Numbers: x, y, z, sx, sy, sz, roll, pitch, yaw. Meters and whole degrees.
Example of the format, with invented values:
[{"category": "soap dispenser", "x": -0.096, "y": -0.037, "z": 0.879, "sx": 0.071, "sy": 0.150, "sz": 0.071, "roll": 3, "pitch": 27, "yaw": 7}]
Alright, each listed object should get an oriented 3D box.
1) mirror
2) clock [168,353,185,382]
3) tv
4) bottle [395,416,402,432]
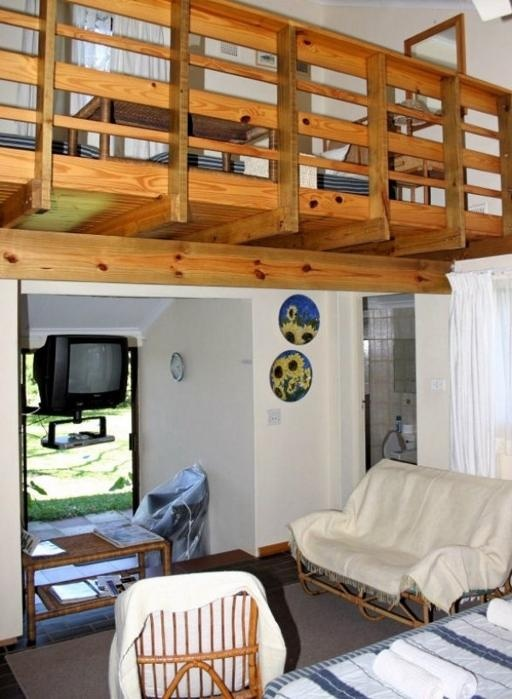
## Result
[{"category": "mirror", "x": 1.283, "y": -2.044, "z": 4.314, "sx": 0.256, "sy": 0.485, "sz": 0.520, "roll": -4, "pitch": -5, "yaw": -23}, {"category": "clock", "x": -0.812, "y": 0.187, "z": 6.304, "sx": 0.032, "sy": 0.276, "sz": 0.286, "roll": -5, "pitch": 8, "yaw": -30}, {"category": "tv", "x": -1.542, "y": 0.228, "z": 5.371, "sx": 0.499, "sy": 0.650, "sz": 0.806, "roll": 3, "pitch": 1, "yaw": 30}, {"category": "bottle", "x": 1.538, "y": 0.811, "z": 6.649, "sx": 0.086, "sy": 0.105, "sz": 0.108, "roll": -6, "pitch": -4, "yaw": -1}]
